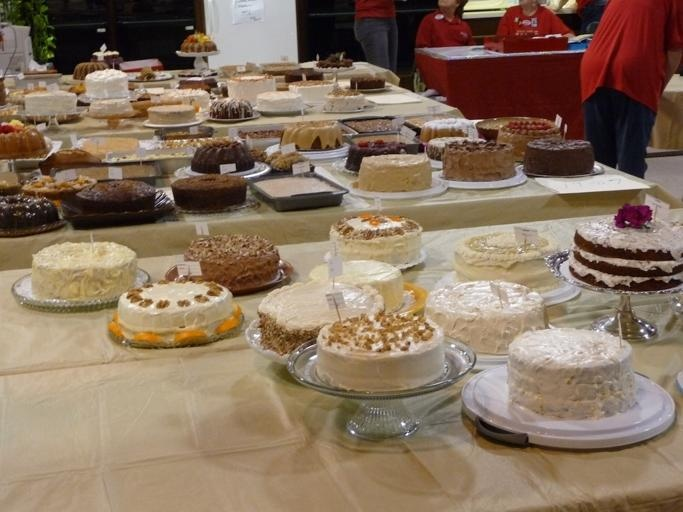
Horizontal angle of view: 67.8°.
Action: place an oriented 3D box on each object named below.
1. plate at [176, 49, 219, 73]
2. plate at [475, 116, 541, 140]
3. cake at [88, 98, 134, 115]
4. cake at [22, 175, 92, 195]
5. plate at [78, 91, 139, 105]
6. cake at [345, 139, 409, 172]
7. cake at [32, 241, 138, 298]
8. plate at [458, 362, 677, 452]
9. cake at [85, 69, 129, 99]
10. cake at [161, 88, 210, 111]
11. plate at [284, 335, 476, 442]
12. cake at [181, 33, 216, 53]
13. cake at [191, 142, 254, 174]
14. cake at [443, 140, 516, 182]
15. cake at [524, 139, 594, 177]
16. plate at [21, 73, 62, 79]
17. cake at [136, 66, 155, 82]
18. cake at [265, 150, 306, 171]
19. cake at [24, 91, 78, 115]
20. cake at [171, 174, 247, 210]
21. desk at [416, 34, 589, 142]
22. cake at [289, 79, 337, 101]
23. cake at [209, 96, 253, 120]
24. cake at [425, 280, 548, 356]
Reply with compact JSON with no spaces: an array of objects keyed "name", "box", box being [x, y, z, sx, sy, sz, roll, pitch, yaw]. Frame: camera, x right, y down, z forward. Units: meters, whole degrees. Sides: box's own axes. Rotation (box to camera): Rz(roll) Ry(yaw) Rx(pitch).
[{"name":"plate","box":[-1.911,-2.653,6.876,0.816,0.328,0.736,-4,21,-10]},{"name":"plate","box":[1.229,-1.033,4.045,0.414,0.106,0.385,-10,22,-21]},{"name":"cake","box":[-1.976,-1.260,4.369,0.351,0.133,0.262,-12,24,-22]},{"name":"cake","box":[-1.587,-0.389,2.842,0.241,0.042,0.217,-3,15,-5]},{"name":"plate","box":[-2.240,-1.526,4.928,0.435,0.073,0.472,2,12,44]},{"name":"cake","box":[0.230,-0.664,3.299,0.291,0.104,0.270,-4,16,-21]},{"name":"cake","box":[-0.939,0.066,1.882,0.285,0.091,0.282,20,23,38]},{"name":"plate","box":[0.540,0.365,1.227,0.484,0.049,0.263,3,22,13]},{"name":"cake","box":[-2.392,-1.701,5.171,0.413,0.214,0.382,-7,20,-21]},{"name":"cake","box":[-1.466,-1.453,4.769,0.449,0.132,0.399,-4,23,-7]},{"name":"plate","box":[0.085,0.282,1.245,0.312,0.098,0.281,-1,11,0]},{"name":"cake","box":[-1.882,-2.831,6.790,0.493,0.242,0.458,8,24,25]},{"name":"cake","box":[-0.790,-0.659,3.201,0.274,0.094,0.272,-19,29,-37]},{"name":"cake","box":[0.829,-0.563,3.072,0.342,0.140,0.306,-1,17,-2]},{"name":"cake","box":[1.367,-0.612,3.180,0.309,0.123,0.306,-16,23,-36]},{"name":"plate","box":[-3.798,-2.280,6.454,0.440,0.089,0.490,-14,24,-27]},{"name":"cake","box":[-2.520,-2.326,6.524,0.239,0.159,0.326,-10,23,-17]},{"name":"cake","box":[-0.365,-0.606,3.268,0.200,0.076,0.234,0,17,-3]},{"name":"cake","box":[-2.574,-1.337,4.492,0.299,0.193,0.377,15,28,36]},{"name":"cake","box":[-0.724,-0.350,2.828,0.362,0.159,0.249,6,24,19]},{"name":"desk","box":[1.986,-2.215,6.763,1.520,0.777,1.357,-5,22,-10]},{"name":"cake","box":[-0.298,-1.699,5.257,0.557,0.196,0.477,-2,21,-5]},{"name":"cake","box":[-0.996,-1.309,4.565,0.393,0.168,0.210,-6,23,-8]},{"name":"cake","box":[0.434,0.168,1.564,0.290,0.086,0.258,-2,23,6]}]
